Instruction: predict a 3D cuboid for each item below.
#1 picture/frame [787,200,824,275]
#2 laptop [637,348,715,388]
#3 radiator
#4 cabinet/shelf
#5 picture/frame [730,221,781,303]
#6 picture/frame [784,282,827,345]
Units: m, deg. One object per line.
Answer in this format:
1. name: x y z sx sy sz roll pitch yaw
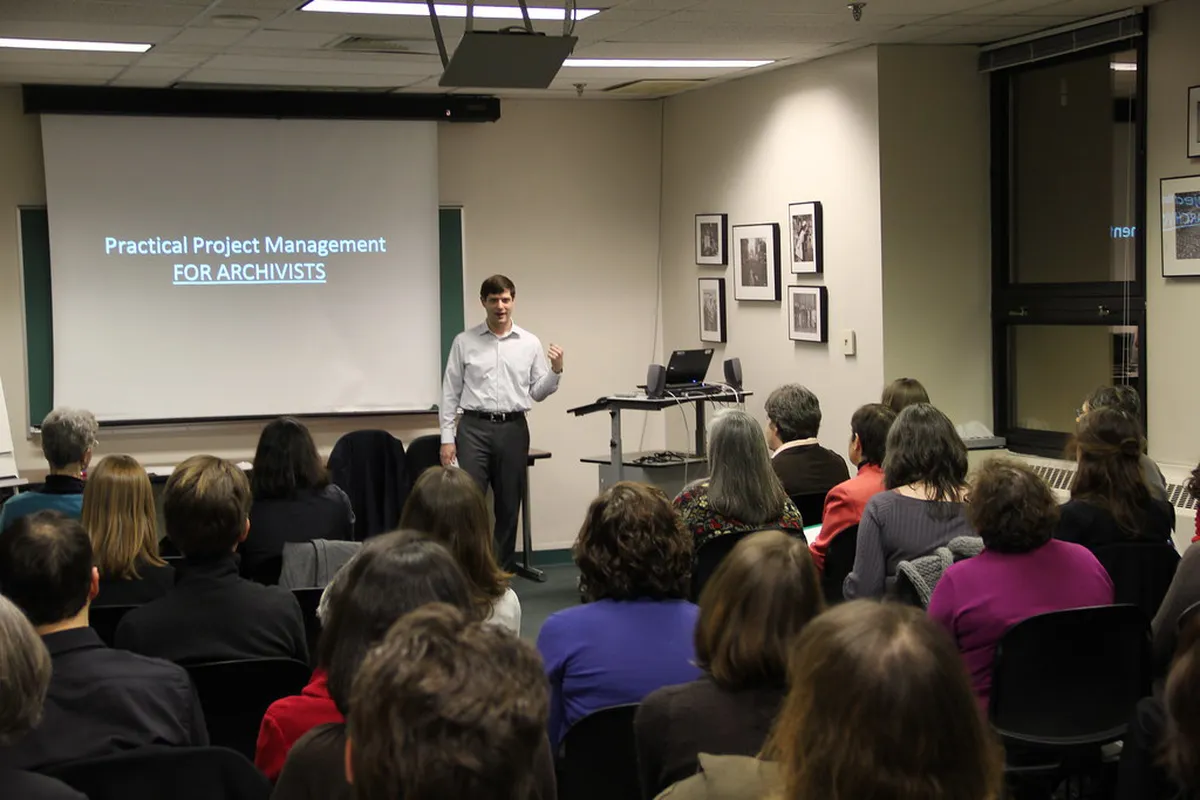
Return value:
1. picture/frame: 1.509 -1.195 6.418 0.046 0.496 0.276 -11 13 -34
2. laptop: 0.599 -0.225 6.192 0.322 0.221 0.300 -3 4 -36
3. radiator: 3.018 0.591 5.189 0.596 0.389 1.278 -5 7 -20
4. cabinet/shelf: 0.358 0.043 6.300 1.018 0.706 0.797 -7 13 -35
5. picture/frame: 1.239 -1.095 6.862 0.087 0.853 0.651 0 0 -33
6. picture/frame: 1.536 -0.646 6.453 0.050 0.507 0.448 0 -1 -25
